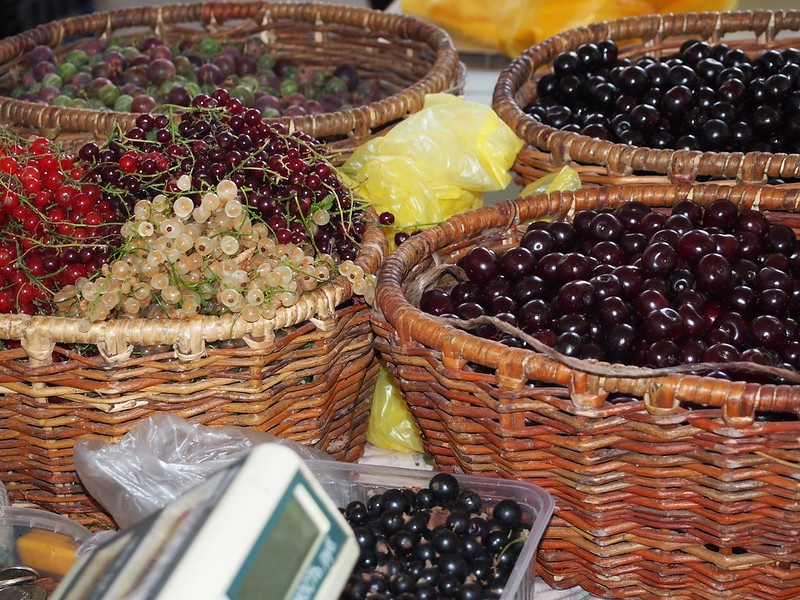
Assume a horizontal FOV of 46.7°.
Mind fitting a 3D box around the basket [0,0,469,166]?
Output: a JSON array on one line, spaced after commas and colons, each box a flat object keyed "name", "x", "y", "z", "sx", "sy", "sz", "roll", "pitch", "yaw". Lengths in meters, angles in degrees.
[{"name": "basket", "x": -0.446, "y": -0.572, "z": 2.314, "sx": 0.744, "sy": 0.199, "sz": 0.732, "roll": -16, "pitch": 32, "yaw": -29}]

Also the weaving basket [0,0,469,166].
[{"name": "weaving basket", "x": -0.453, "y": -0.619, "z": 2.289, "sx": 0.744, "sy": 0.199, "sz": 0.732, "roll": -16, "pitch": 32, "yaw": -29}]
